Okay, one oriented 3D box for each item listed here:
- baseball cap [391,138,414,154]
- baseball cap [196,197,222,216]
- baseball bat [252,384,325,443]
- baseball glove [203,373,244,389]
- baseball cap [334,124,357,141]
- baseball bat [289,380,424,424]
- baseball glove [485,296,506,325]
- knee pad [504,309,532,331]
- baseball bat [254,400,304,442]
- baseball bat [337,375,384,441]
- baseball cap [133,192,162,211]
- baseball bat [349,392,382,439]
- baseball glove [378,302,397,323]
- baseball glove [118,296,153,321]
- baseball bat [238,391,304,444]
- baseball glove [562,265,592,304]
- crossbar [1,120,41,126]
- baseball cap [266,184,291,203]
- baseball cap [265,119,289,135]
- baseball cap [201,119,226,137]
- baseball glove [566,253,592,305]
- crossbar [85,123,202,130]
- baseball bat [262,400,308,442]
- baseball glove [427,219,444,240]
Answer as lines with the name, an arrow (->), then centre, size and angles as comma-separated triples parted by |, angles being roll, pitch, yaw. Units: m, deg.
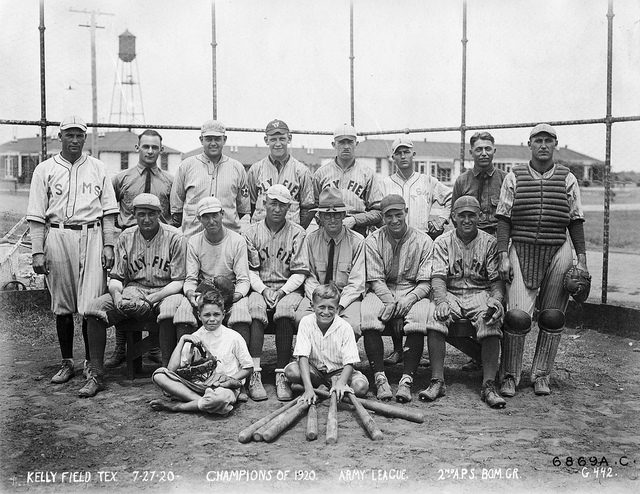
baseball cap -> 0.928, -1.156, 7.950 | 0.229, 0.191, 0.294 | 3, 13, 7
baseball cap -> -1.071, -0.394, 6.773 | 0.231, 0.174, 0.183 | 2, 13, 2
baseball bat -> -0.188, 1.356, 5.939 | 0.979, 0.133, 0.133 | -24, 53, -36
baseball glove -> -0.858, 1.177, 6.166 | 0.196, 0.070, 0.174 | 2, -3, 24
baseball cap -> 0.280, -1.254, 7.764 | 0.243, 0.219, 0.345 | 3, 3, -2
baseball bat -> 0.286, 1.365, 6.147 | 0.957, 0.134, 0.106 | 11, 28, 19
baseball glove -> 1.626, 0.585, 6.574 | 0.117, 0.241, 0.175 | 7, 9, 10
knee pad -> 1.847, 0.682, 6.589 | 0.236, 0.186, 0.105 | 4, 13, 11
baseball bat -> -0.302, 1.413, 5.914 | 0.108, 0.105, 0.910 | 31, 19, 13
baseball bat -> 0.372, 1.393, 5.879 | 0.091, 0.094, 0.689 | 11, 13, -16
baseball cap -> -1.681, -0.436, 6.822 | 0.257, 0.170, 0.191 | -9, 16, -38
baseball bat -> 0.373, 1.392, 5.870 | 0.082, 0.080, 0.571 | 37, 6, -23
baseball glove -> 0.640, 0.616, 6.676 | 0.124, 0.218, 0.065 | 36, 37, 14
baseball glove -> -1.768, 0.585, 6.743 | 0.262, 0.209, 0.137 | 20, -42, -28
baseball bat -> -0.307, 1.400, 6.211 | 0.129, 0.139, 1.545 | -20, -2, 20
baseball glove -> 2.441, 0.374, 6.721 | 0.240, 0.369, 0.322 | 8, 15, 30
crossbar -> -3.793, -1.588, 8.907 | 0.464, 0.068, 0.120 | 1, 13, -3
baseball cap -> -0.419, -0.539, 6.996 | 0.220, 0.164, 0.179 | -3, 13, -16
baseball cap -> -0.476, -1.326, 7.702 | 0.235, 0.163, 0.175 | 0, 13, -3
baseball cap -> -1.171, -1.310, 7.671 | 0.252, 0.164, 0.169 | -1, 13, -11
baseball glove -> 2.462, 0.310, 6.676 | 0.208, 0.459, 0.300 | -2, -6, 29
crossbar -> -2.256, -1.567, 9.082 | 1.411, 0.076, 0.399 | -4, 14, -22
baseball bat -> -0.274, 1.417, 5.773 | 0.101, 0.094, 0.811 | 26, 18, 10
baseball glove -> 1.330, -0.220, 8.096 | 0.097, 0.243, 0.182 | -5, -11, 9
